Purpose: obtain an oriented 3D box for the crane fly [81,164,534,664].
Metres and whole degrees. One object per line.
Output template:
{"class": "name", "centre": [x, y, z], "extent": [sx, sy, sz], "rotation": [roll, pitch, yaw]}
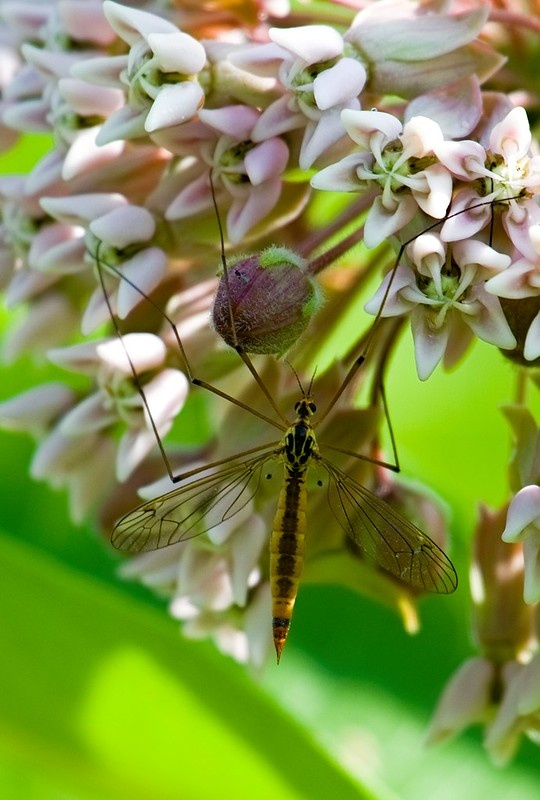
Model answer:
{"class": "crane fly", "centre": [0.011, 0.009, 0.671], "extent": [0.430, 0.099, 0.344], "rotation": [6, 102, 11]}
